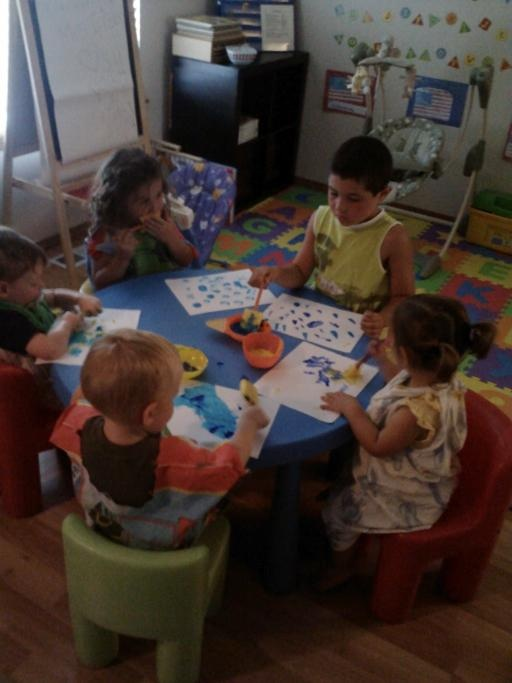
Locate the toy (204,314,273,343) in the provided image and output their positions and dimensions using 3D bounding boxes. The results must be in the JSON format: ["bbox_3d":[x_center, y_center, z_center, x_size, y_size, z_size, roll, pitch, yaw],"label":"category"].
[{"bbox_3d":[-0.045,-0.032,1.301,0.108,0.022,0.081,-2,37,-3],"label":"toy"}]

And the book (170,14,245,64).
[{"bbox_3d":[-0.293,-1.723,3.219,0.347,0.209,0.343,20,37,24],"label":"book"}]

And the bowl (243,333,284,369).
[{"bbox_3d":[0.011,0.024,1.209,0.082,0.049,0.082,3,46,-3],"label":"bowl"}]

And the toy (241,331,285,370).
[{"bbox_3d":[0.010,0.026,1.211,0.085,0.051,0.084,17,49,9],"label":"toy"}]

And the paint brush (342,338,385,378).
[{"bbox_3d":[0.244,0.040,1.236,0.095,0.022,0.027,-44,34,-5],"label":"paint brush"}]

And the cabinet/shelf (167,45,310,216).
[{"bbox_3d":[-0.100,-1.421,3.643,0.502,0.843,0.899,24,37,23],"label":"cabinet/shelf"}]

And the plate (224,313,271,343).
[{"bbox_3d":[-0.036,-0.021,1.284,0.089,0.016,0.068,33,50,32],"label":"plate"}]

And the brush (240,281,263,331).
[{"bbox_3d":[-0.013,-0.085,1.348,0.046,0.044,0.114,27,60,-16],"label":"brush"}]

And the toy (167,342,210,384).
[{"bbox_3d":[-0.136,0.046,1.151,0.064,0.030,0.073,32,41,24],"label":"toy"}]

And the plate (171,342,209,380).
[{"bbox_3d":[-0.142,0.043,1.153,0.071,0.031,0.062,26,36,31],"label":"plate"}]
